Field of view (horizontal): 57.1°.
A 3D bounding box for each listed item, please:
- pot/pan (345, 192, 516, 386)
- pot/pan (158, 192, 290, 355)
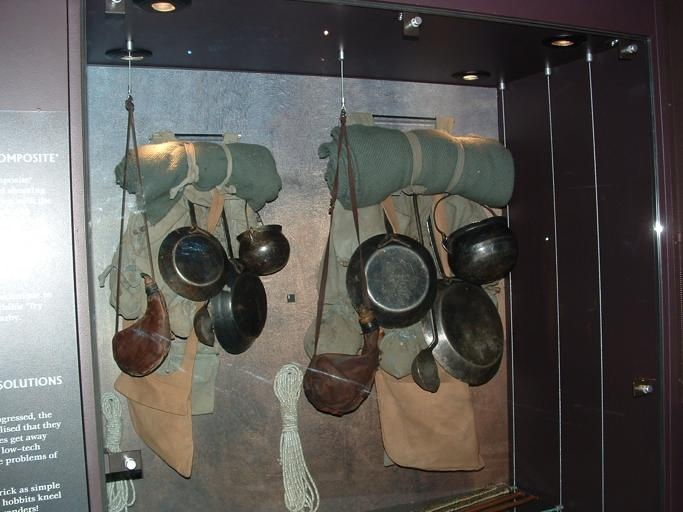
[{"bbox_3d":[0.434,0.056,2.156,0.456,0.727,0.101,2,-4,-11],"label":"pot/pan"},{"bbox_3d":[-0.384,0.076,2.065,0.133,0.454,0.469,-2,38,47],"label":"pot/pan"}]
